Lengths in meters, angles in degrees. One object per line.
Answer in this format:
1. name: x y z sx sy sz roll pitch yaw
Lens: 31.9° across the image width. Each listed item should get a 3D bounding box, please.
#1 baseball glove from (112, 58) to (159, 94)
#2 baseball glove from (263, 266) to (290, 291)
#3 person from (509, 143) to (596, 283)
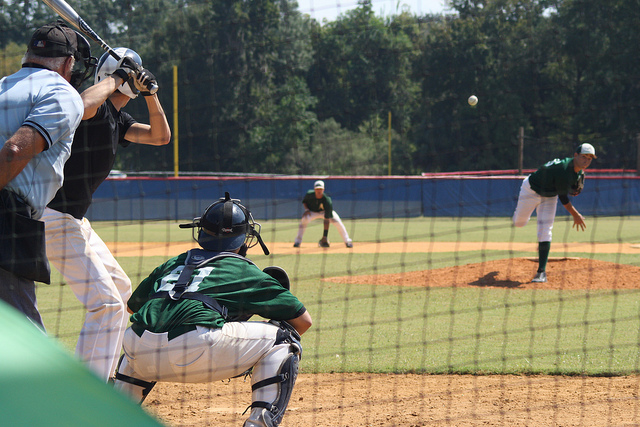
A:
1. baseball glove: -2.740 -1.993 16.467 0.584 0.545 0.439 9 12 -29
2. baseball glove: -0.579 0.910 16.045 0.262 0.342 0.339 0 -2 -36
3. person: 4.307 -0.051 20.806 1.461 2.552 0.931 4 9 20
